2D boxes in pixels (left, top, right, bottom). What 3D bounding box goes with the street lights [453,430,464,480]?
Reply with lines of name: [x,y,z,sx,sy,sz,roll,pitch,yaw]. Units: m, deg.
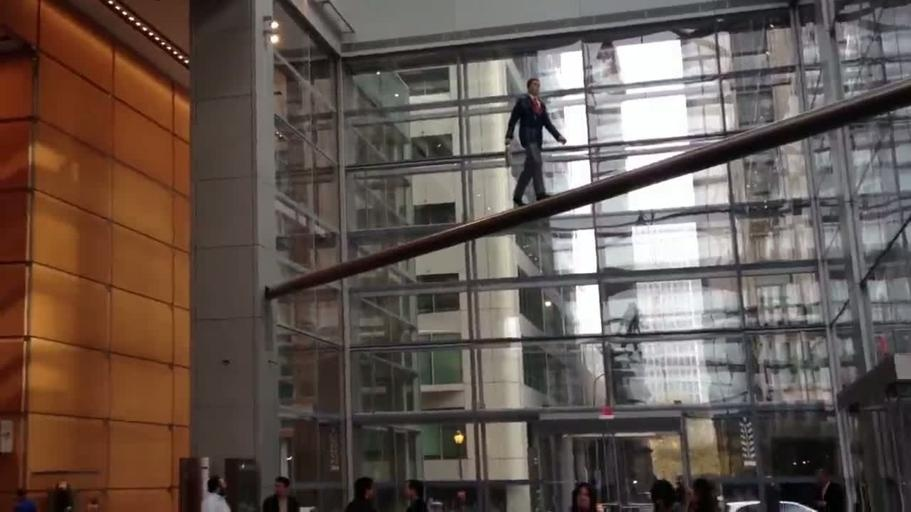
street lights: [0.117,5.463,30.112,0.315,1.319,0.169,-7,-18,6]
